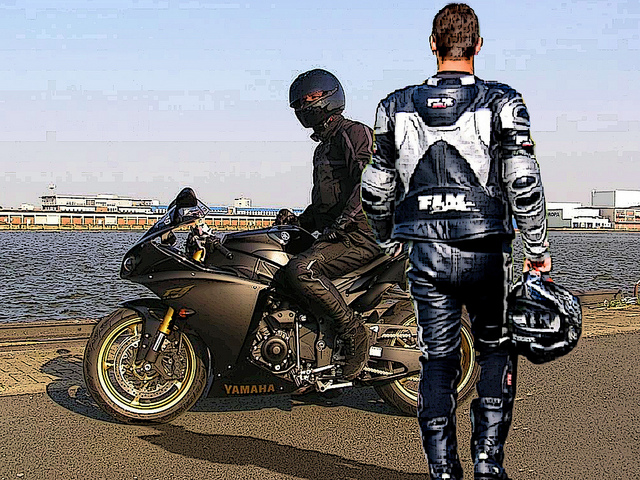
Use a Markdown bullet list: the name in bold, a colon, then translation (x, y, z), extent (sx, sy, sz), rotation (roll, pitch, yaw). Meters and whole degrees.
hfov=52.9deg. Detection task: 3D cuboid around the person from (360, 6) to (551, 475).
- **person**: translation (0.846, -0.008, 4.006), extent (1.116, 2.797, 0.386), rotation (1, 2, 16)
